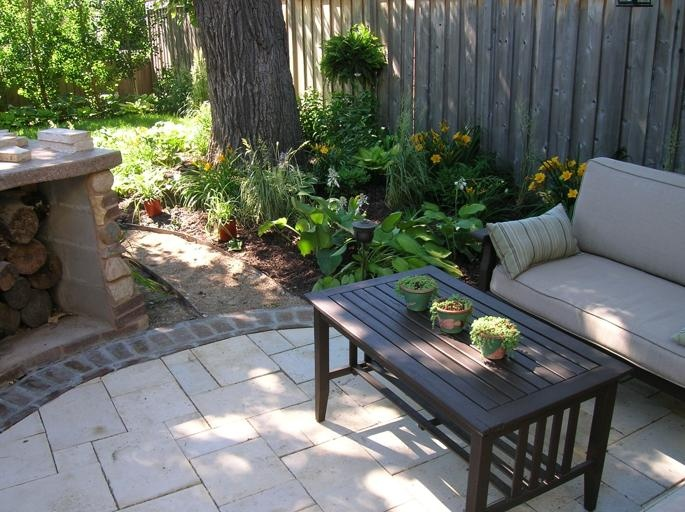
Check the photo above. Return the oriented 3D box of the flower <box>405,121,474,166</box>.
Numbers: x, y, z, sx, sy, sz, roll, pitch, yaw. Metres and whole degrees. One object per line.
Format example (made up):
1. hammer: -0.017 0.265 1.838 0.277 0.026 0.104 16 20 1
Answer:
1. flower: 1.071 -1.119 5.325 0.603 0.401 0.561 -29 38 -19

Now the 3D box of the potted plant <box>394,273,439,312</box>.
1. potted plant: 0.407 0.193 2.738 0.218 0.142 0.196 -3 13 -15

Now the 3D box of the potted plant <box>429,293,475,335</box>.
1. potted plant: 0.541 0.287 2.522 0.217 0.134 0.204 -1 5 -12

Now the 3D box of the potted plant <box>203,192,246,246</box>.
1. potted plant: -1.233 -0.365 5.050 0.476 0.411 0.437 -8 5 -8

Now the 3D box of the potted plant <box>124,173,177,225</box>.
1. potted plant: -2.133 -0.617 5.579 0.355 0.308 0.355 -12 1 4

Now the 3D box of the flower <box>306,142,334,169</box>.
1. flower: -0.256 -1.178 5.860 0.291 0.216 0.689 -6 21 -3

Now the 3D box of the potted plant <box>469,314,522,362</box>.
1. potted plant: 0.693 0.402 2.382 0.274 0.169 0.263 -7 -5 28

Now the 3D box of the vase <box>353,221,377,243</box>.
1. vase: 0.147 -0.159 3.383 0.161 0.144 0.150 6 25 11

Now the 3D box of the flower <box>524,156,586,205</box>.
1. flower: 1.921 -0.666 4.489 0.536 0.462 0.507 2 9 17
